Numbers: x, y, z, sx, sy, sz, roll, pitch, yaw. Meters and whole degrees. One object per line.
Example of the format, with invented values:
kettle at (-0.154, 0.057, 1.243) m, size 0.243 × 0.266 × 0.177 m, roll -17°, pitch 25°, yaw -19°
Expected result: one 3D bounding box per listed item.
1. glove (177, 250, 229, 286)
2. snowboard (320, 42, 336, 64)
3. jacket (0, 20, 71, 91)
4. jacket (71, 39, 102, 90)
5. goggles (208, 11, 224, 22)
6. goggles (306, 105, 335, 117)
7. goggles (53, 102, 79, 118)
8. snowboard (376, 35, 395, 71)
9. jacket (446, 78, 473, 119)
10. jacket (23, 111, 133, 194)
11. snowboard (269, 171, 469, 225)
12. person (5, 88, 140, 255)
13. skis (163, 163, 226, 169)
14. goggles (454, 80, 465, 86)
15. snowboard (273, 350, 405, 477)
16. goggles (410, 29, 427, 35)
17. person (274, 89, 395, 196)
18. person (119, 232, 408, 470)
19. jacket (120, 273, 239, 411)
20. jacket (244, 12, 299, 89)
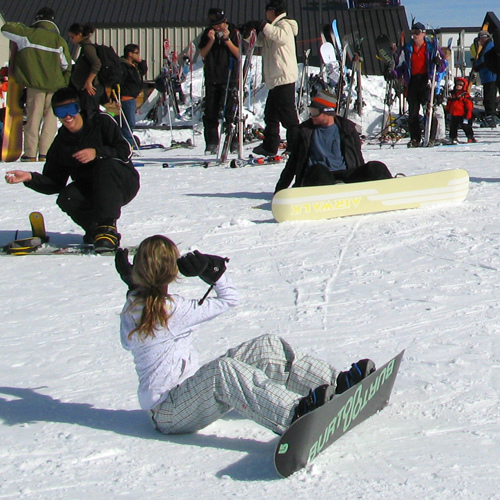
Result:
glove at (-0.164, 0.042, 2.087) m, size 0.180 × 0.047 × 0.136 m, roll -17°, pitch 8°, yaw -3°
snowboard at (1.840, -4.632, 13.676) m, size 0.349 × 0.595 × 0.154 m, roll -33°, pitch 55°, yaw -16°
jacket at (-3.089, -2.830, 8.426) m, size 0.916 × 1.064 × 0.484 m, roll -1°, pitch 5°, yaw -14°
jacket at (-2.337, -2.713, 8.446) m, size 0.384 × 0.755 × 0.559 m, roll -3°, pitch 6°, yaw -38°
goggles at (-0.468, -3.240, 8.059) m, size 0.206 × 0.118 × 0.160 m, roll 7°, pitch 13°, yaw 18°
goggles at (0.653, -1.309, 5.386) m, size 0.252 × 0.074 × 0.163 m, roll 4°, pitch 11°, yaw -3°
goggles at (-1.385, -1.058, 4.369) m, size 0.166 × 0.059 × 0.138 m, roll -12°, pitch 39°, yaw -14°
snowboard at (3.868, -5.514, 16.462) m, size 0.484 × 0.282 × 1.779 m, roll -21°, pitch -27°, yaw 8°
jacket at (4.307, -3.096, 11.905) m, size 0.498 × 0.878 × 0.678 m, roll 2°, pitch 5°, yaw 16°
jacket at (-1.339, -0.787, 4.679) m, size 0.704 × 0.645 × 0.257 m, roll 1°, pitch 5°, yaw 13°
snowboard at (1.160, -0.389, 5.269) m, size 2.203 × 0.358 × 0.314 m, roll -8°, pitch -18°, yaw -25°
person at (-1.365, -0.596, 4.641) m, size 0.729 × 1.252 × 0.615 m, roll 2°, pitch 5°, yaw 15°
skis at (-0.813, -1.261, 8.687) m, size 1.138 × 0.090 × 0.142 m, roll -3°, pitch 9°, yaw -21°
goggles at (4.357, -3.456, 12.007) m, size 0.128 × 0.050 × 0.151 m, roll 1°, pitch -1°, yaw 3°
snowboard at (0.313, 0.494, 1.869) m, size 0.659 × 0.147 × 0.094 m, roll -23°, pitch 24°, yaw -40°
goggles at (2.773, -3.592, 9.601) m, size 0.169 × 0.066 × 0.171 m, roll 7°, pitch 11°, yaw 19°
person at (0.827, -0.904, 5.376) m, size 0.899 × 1.041 × 0.993 m, roll -12°, pitch 19°, yaw -30°
person at (-0.077, 0.325, 2.014) m, size 1.024 × 0.490 × 0.678 m, roll 4°, pitch 13°, yaw 37°
jacket at (-0.240, 0.329, 2.128) m, size 0.418 × 0.483 × 0.189 m, roll -3°, pitch 6°, yaw -32°
jacket at (0.375, -2.657, 7.789) m, size 0.512 × 1.017 × 0.484 m, roll 0°, pitch 5°, yaw -1°
